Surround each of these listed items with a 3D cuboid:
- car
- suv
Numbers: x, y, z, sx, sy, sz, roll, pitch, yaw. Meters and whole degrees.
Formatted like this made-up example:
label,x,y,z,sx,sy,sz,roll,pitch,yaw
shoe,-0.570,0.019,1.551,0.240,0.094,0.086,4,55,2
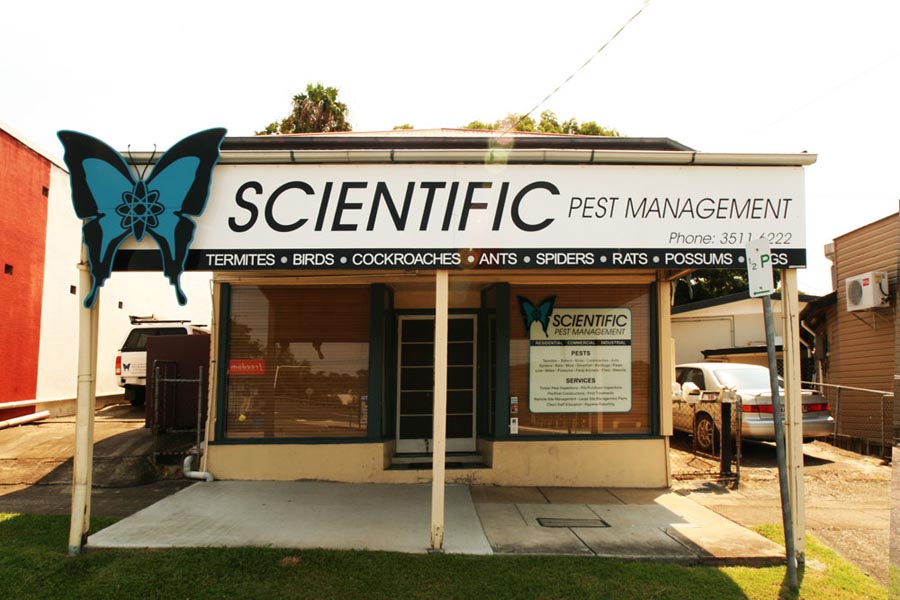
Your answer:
label,x,y,z,sx,sy,sz,roll,pitch,yaw
car,6.159,2.466,15.764,1.947,1.818,3.381,-10,16,-43
suv,-7.882,1.574,19.522,2.369,2.074,3.693,0,1,3
